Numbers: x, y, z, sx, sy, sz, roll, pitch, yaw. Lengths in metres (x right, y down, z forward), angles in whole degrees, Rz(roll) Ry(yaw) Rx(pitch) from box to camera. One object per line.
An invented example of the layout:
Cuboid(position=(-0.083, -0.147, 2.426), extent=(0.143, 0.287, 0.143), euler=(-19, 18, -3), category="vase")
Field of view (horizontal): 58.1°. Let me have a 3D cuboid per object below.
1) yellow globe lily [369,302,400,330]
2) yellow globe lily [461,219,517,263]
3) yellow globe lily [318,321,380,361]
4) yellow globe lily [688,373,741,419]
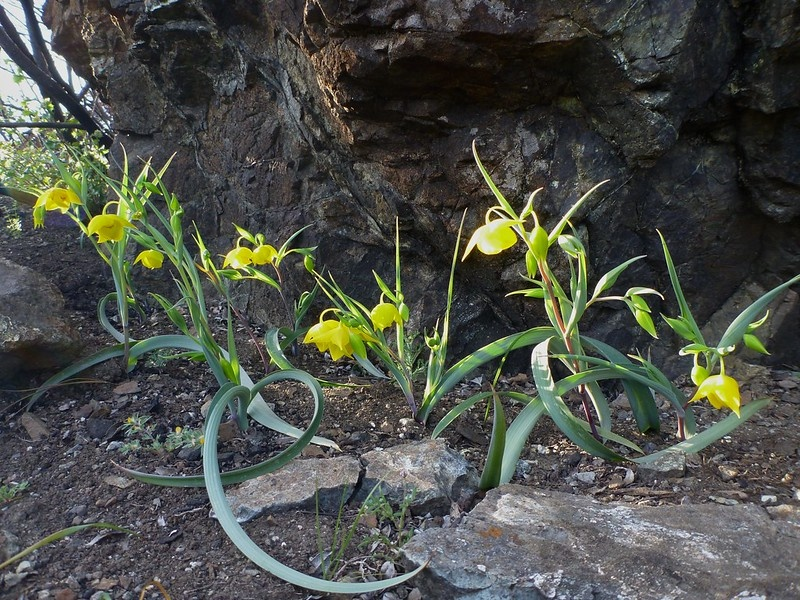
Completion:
Cuboid(position=(-0.065, 0.064, 3.230), extent=(0.114, 0.134, 0.101), euler=(-19, 4, -8), category="yellow globe lily")
Cuboid(position=(0.351, -0.240, 2.808), extent=(0.194, 0.145, 0.148), euler=(-22, 31, -21), category="yellow globe lily")
Cuboid(position=(-0.238, 0.186, 3.142), extent=(0.164, 0.176, 0.194), euler=(23, 9, -10), category="yellow globe lily")
Cuboid(position=(1.232, 0.386, 2.798), extent=(0.160, 0.223, 0.203), euler=(3, 31, 20), category="yellow globe lily")
